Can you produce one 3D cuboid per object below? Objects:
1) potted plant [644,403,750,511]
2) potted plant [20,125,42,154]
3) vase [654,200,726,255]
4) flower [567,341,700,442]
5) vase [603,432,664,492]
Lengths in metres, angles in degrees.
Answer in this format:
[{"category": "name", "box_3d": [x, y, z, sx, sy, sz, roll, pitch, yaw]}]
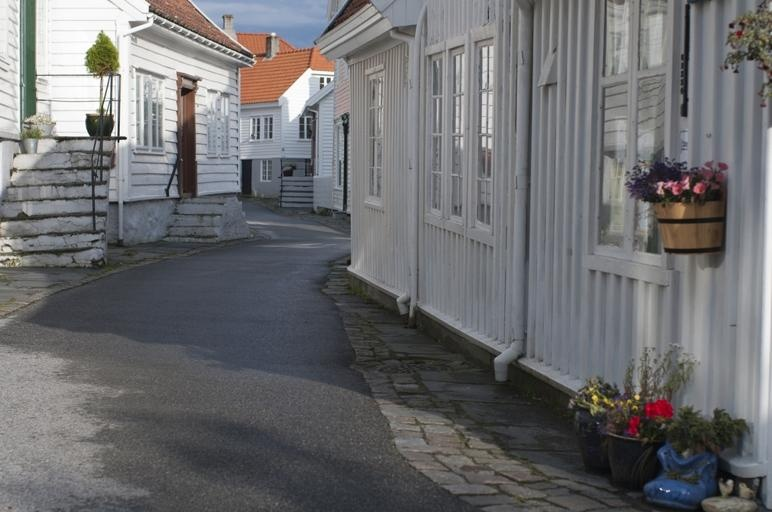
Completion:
[{"category": "potted plant", "box_3d": [2.021, 1.279, 5.490, 0.656, 0.661, 0.651, 6, 11, 43]}, {"category": "potted plant", "box_3d": [-6.655, -2.198, 15.020, 0.490, 0.515, 0.348, 9, 9, 36]}, {"category": "vase", "box_3d": [2.108, -0.187, 5.616, 0.500, 0.298, 0.480, -1, 0, -8]}, {"category": "flower", "box_3d": [1.785, 0.970, 5.743, 0.675, 0.526, 0.769, 0, 3, 12]}, {"category": "vase", "box_3d": [1.707, 1.406, 5.685, 0.489, 0.360, 0.485, 3, -2, 6]}]
